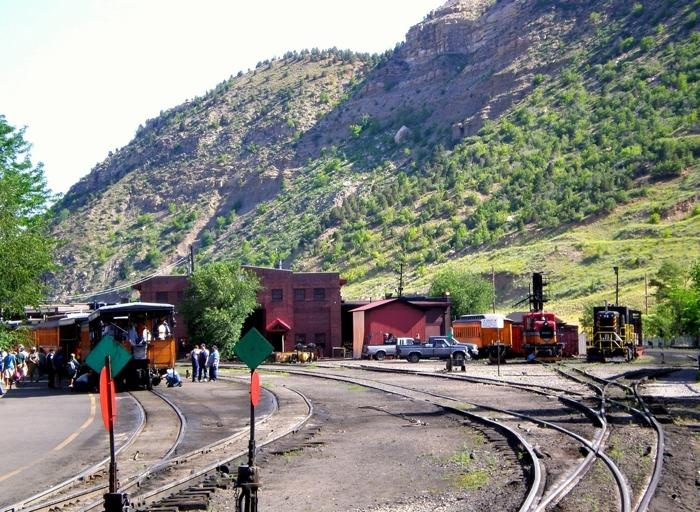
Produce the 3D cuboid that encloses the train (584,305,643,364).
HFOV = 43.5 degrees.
[{"bbox_3d":[22.768,6.951,73.270,3.258,4.777,17.047,-7,-13,25],"label":"train"}]

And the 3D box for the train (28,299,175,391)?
[{"bbox_3d":[-13.021,4.745,45.546,6.619,4.700,6.230,-4,-3,-26],"label":"train"}]

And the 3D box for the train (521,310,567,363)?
[{"bbox_3d":[14.841,6.328,68.033,1.691,2.869,5.277,0,-7,-1],"label":"train"}]
